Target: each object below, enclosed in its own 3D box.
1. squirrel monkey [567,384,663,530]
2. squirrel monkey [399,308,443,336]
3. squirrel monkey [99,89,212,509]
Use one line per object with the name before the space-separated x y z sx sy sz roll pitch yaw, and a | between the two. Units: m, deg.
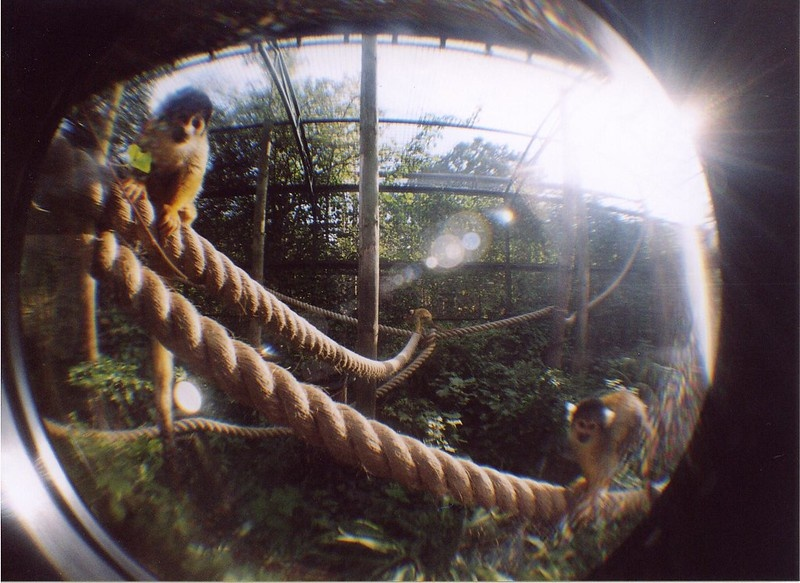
squirrel monkey | 0.702 0.534 2.364 0.340 0.574 0.358 2 8 11
squirrel monkey | 0.090 0.125 2.824 0.158 0.127 0.075 12 5 21
squirrel monkey | -0.802 0.030 2.253 0.254 1.343 0.257 11 12 0
